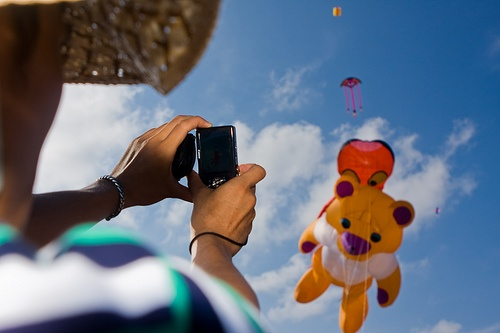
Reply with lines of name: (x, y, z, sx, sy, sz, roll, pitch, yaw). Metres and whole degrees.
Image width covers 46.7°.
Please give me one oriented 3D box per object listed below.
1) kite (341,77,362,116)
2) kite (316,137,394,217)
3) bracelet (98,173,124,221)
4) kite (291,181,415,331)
kite: (0.654, -0.435, 3.646, 0.125, 0.288, 0.088, -8, -28, 8)
kite: (0.841, 0.105, 4.229, 0.352, 0.625, 0.084, 19, -9, 31)
bracelet: (-0.375, 0.083, 1.547, 0.086, 0.122, 0.030, -8, -17, 25)
kite: (0.820, 0.750, 4.586, 0.692, 1.355, 1.081, 7, 6, -1)
